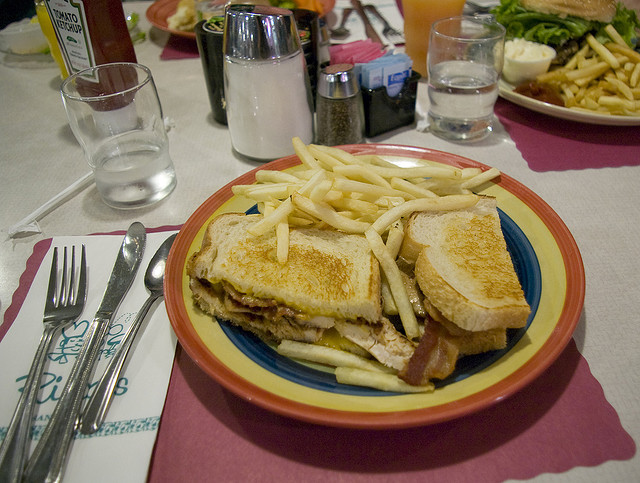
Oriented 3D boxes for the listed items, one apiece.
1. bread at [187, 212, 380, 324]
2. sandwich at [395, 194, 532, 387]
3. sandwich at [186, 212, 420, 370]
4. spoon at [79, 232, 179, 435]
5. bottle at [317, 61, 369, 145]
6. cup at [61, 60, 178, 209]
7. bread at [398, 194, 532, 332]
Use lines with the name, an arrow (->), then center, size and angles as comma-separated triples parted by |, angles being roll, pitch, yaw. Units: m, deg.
bread -> -0.099, 0.077, 1.490 | 0.473, 0.104, 0.305 | 8, 45, 2
sandwich -> 0.414, 0.112, 1.450 | 0.398, 0.127, 0.431 | 7, 52, 16
sandwich -> -0.054, 0.169, 1.523 | 0.600, 0.190, 0.395 | 9, 50, 1
spoon -> -0.520, 0.243, 1.585 | 0.109, 0.098, 0.710 | 13, 48, 2
bottle -> 0.083, -0.570, 2.127 | 0.226, 0.334, 0.222 | -3, 42, 3
cup -> -0.811, -0.406, 2.007 | 0.377, 0.546, 0.358 | 0, 49, 0
bread -> 0.441, 0.043, 1.600 | 0.340, 0.139, 0.629 | 8, 31, 7
